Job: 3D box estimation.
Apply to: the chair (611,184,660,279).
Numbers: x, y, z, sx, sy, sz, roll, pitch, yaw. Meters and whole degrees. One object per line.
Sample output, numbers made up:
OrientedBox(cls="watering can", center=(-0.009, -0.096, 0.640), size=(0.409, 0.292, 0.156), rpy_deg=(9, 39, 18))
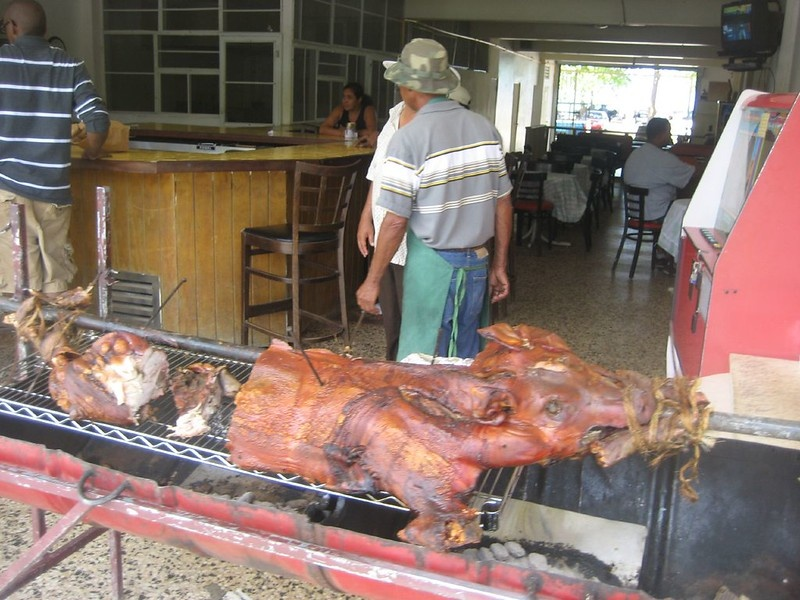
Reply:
OrientedBox(cls="chair", center=(2.442, -0.702, 6.725), size=(0.482, 0.820, 0.429), rpy_deg=(1, 14, -6))

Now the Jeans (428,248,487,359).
OrientedBox(cls="Jeans", center=(0.235, 0.067, 2.869), size=(0.221, 0.626, 0.163), rpy_deg=(1, 27, -11))

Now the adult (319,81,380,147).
OrientedBox(cls="adult", center=(-0.563, -1.913, 7.199), size=(0.644, 0.799, 0.461), rpy_deg=(6, 20, 9))

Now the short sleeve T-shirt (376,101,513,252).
OrientedBox(cls="short sleeve T-shirt", center=(0.166, -0.475, 2.687), size=(0.708, 0.586, 0.329), rpy_deg=(-13, 31, -20))

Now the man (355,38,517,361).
OrientedBox(cls="man", center=(0.165, -0.223, 2.949), size=(0.739, 1.665, 0.469), rpy_deg=(-16, 34, -25))

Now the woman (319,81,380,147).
OrientedBox(cls="woman", center=(-0.548, -1.913, 7.202), size=(0.636, 0.798, 0.454), rpy_deg=(7, 20, 11))

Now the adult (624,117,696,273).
OrientedBox(cls="adult", center=(2.664, -1.128, 6.933), size=(0.833, 1.485, 0.651), rpy_deg=(-16, 28, -13))

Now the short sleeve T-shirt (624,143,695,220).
OrientedBox(cls="short sleeve T-shirt", center=(2.627, -1.237, 6.829), size=(0.596, 0.790, 0.747), rpy_deg=(-24, 26, -26))

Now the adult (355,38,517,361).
OrientedBox(cls="adult", center=(0.161, -0.225, 2.970), size=(0.735, 1.675, 0.551), rpy_deg=(-12, 30, -22))
